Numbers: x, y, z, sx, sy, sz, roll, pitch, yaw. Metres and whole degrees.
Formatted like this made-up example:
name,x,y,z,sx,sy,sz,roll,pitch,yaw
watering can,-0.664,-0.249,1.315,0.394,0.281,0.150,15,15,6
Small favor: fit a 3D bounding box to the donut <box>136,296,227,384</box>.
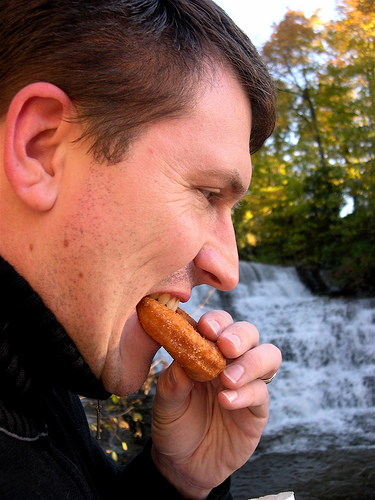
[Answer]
name,x,y,z,sx,sy,sz,roll,pitch,yaw
donut,0.003,0.212,1.321,0.090,0.228,0.229,-48,-8,-1
